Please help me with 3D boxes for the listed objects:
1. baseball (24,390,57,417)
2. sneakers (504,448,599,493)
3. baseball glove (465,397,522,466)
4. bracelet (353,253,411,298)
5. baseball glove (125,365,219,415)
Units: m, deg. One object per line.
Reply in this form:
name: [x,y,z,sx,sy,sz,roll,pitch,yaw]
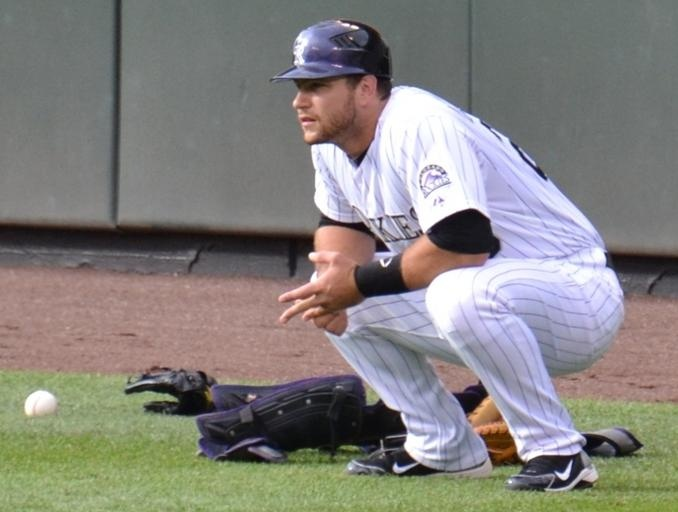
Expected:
baseball: [-1.846,0.908,9.381,0.202,0.154,0.154,-5,-46,-14]
sneakers: [1.222,1.216,8.519,0.524,0.203,0.190,1,-7,-15]
baseball glove: [0.909,1.032,8.912,0.308,0.375,0.161,-26,-11,24]
bracelet: [0.245,0.112,8.561,0.295,0.116,0.219,-7,-4,-41]
baseball glove: [-1.063,0.853,9.653,0.535,0.222,0.295,5,-3,13]
